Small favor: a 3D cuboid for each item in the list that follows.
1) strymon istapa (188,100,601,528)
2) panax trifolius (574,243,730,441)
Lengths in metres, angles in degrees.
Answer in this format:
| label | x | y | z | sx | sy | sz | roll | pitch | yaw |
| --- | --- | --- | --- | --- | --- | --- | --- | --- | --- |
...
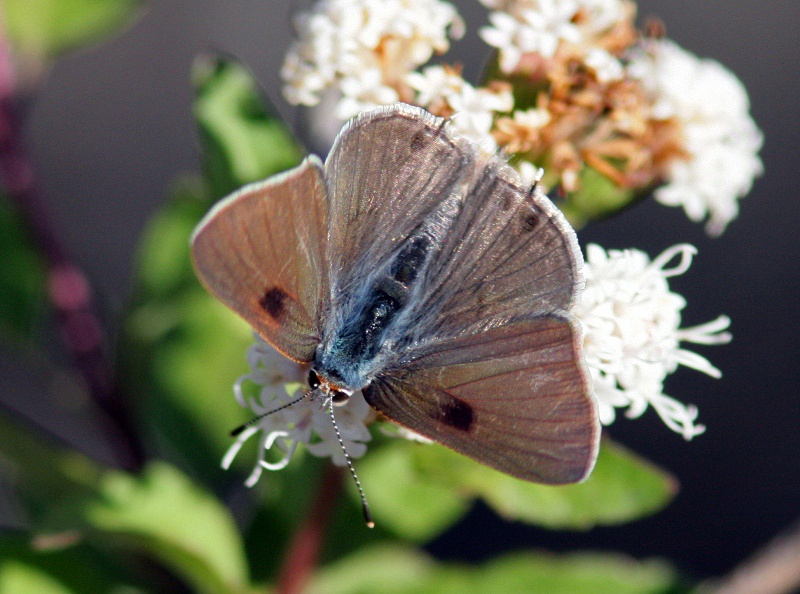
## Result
| label | x | y | z | sx | sy | sz | roll | pitch | yaw |
| --- | --- | --- | --- | --- | --- | --- | --- | --- | --- |
| strymon istapa | 0.001 | -0.011 | 1.407 | 0.539 | 0.497 | 0.144 | 1 | 5 | 6 |
| panax trifolius | 0.358 | 0.034 | 1.467 | 0.244 | 0.274 | 0.128 | 26 | 18 | 30 |
